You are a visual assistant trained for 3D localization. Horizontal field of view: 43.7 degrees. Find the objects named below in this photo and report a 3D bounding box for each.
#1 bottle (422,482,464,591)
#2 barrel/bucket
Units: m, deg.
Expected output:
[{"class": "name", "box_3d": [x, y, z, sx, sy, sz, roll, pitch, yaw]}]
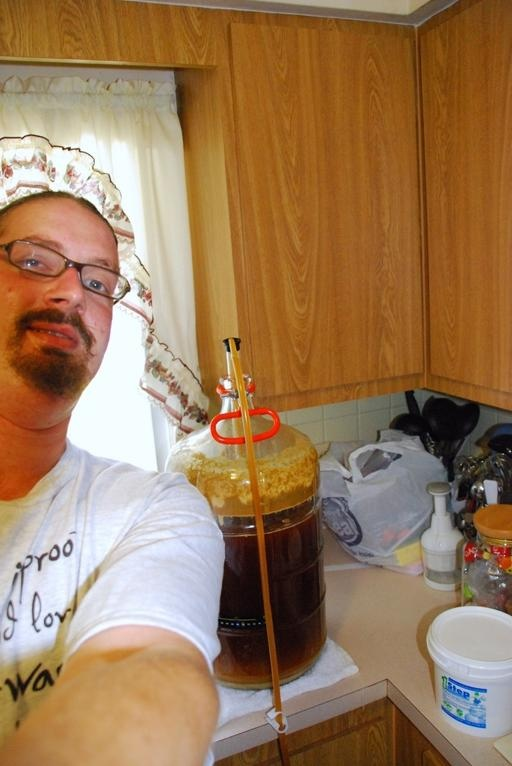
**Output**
[{"class": "bottle", "box_3d": [0.406, 0.324, 1.393, 0.087, 0.216, 0.133, 7, 15, 16]}, {"class": "barrel/bucket", "box_3d": [-0.010, 0.258, 1.087, 0.247, 0.436, 0.248, -5, 7, 1]}]
